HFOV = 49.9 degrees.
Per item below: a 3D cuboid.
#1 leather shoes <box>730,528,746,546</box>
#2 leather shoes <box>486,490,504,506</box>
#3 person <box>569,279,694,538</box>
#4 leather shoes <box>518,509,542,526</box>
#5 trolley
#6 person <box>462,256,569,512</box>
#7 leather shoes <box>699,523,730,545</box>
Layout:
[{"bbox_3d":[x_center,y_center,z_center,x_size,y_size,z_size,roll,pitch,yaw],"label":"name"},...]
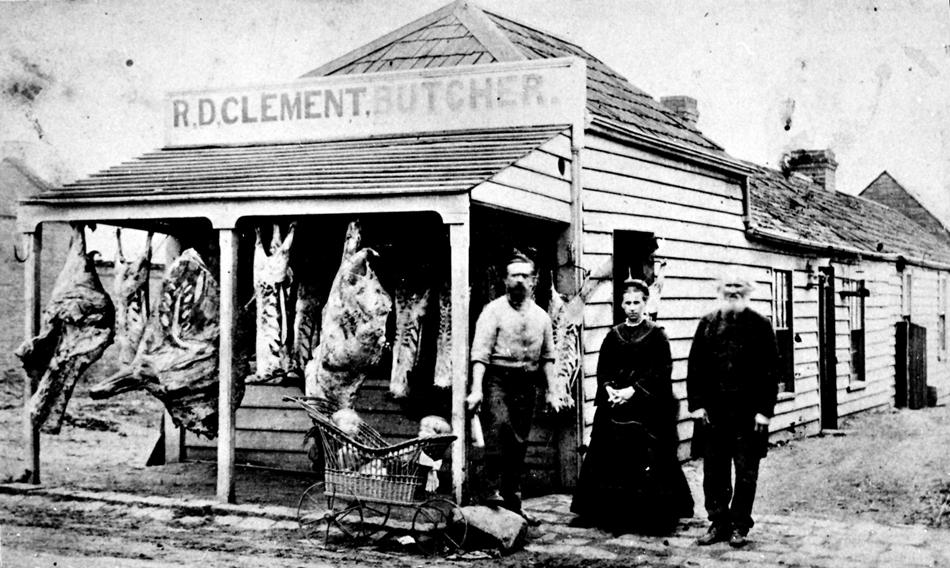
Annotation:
[{"bbox_3d":[3.630,3.489,14.086,0.228,0.187,0.200,2,11,13],"label":"leather shoes"},{"bbox_3d":[0.290,2.963,14.113,0.214,0.078,0.232,-1,0,26],"label":"leather shoes"},{"bbox_3d":[2.228,1.741,14.498,1.396,3.476,0.600,1,10,11],"label":"person"},{"bbox_3d":[0.771,3.354,14.697,0.370,0.147,0.217,35,4,-15],"label":"leather shoes"},{"bbox_3d":[-1.613,2.750,14.714,2.859,1.958,1.802,6,-11,-17],"label":"trolley"},{"bbox_3d":[0.491,1.571,14.379,1.307,3.697,0.746,-8,12,-38],"label":"person"},{"bbox_3d":[3.229,3.475,14.218,0.564,0.252,0.194,-5,-2,-8],"label":"leather shoes"}]
